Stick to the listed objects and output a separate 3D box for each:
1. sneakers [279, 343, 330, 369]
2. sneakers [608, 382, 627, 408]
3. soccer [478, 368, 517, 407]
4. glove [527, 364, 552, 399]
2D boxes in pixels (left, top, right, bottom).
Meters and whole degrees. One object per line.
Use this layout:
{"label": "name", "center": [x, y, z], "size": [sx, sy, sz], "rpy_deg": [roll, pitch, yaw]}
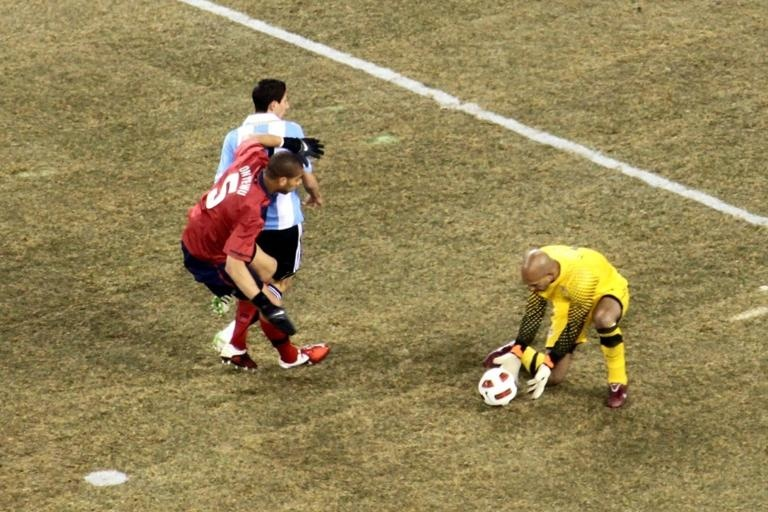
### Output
{"label": "sneakers", "center": [-1.031, 1.216, 23.208], "size": [0.667, 0.227, 0.218], "rpy_deg": [-13, 51, -4]}
{"label": "sneakers", "center": [2.671, 1.651, 22.634], "size": [0.186, 0.141, 0.286], "rpy_deg": [3, 73, 28]}
{"label": "soccer", "center": [1.282, 1.554, 22.805], "size": [0.518, 0.427, 0.434], "rpy_deg": [-2, 36, 13]}
{"label": "glove", "center": [1.763, 1.497, 22.661], "size": [0.132, 0.417, 0.273], "rpy_deg": [-3, 37, -44]}
